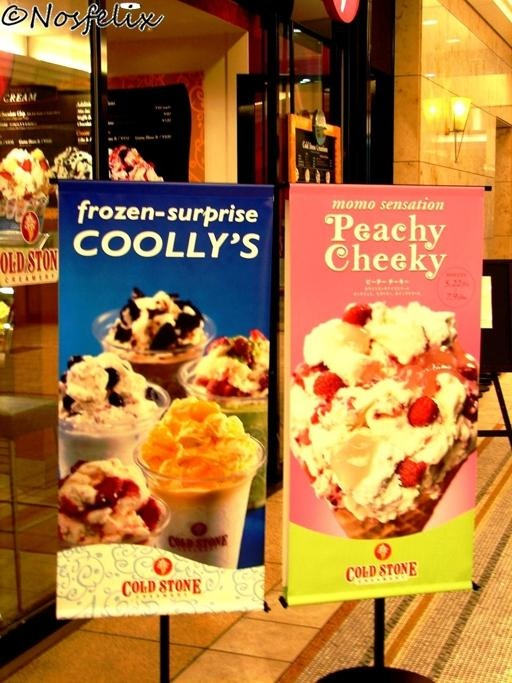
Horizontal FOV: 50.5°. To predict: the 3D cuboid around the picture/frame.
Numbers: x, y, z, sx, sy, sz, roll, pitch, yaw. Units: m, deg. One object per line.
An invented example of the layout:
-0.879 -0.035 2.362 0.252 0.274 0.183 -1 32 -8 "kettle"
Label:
0.452 -1.397 4.093 0.564 0.470 0.041 -8 8 -43 "picture/frame"
